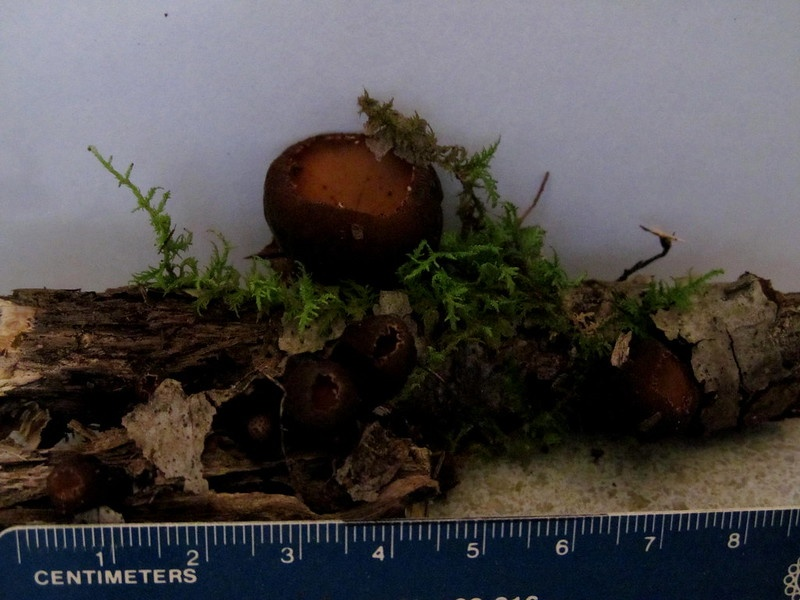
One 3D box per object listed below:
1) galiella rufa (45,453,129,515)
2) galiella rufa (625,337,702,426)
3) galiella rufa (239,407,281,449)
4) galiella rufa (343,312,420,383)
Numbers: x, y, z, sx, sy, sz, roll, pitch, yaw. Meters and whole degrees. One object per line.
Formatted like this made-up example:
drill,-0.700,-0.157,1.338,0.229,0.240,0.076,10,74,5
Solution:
galiella rufa,-1.749,1.007,4.782,0.207,0.342,0.313,-15,71,1
galiella rufa,1.471,0.494,5.012,0.418,0.493,0.219,6,27,20
galiella rufa,-0.750,0.713,4.903,0.177,0.206,0.072,-32,4,2
galiella rufa,-0.115,0.276,4.826,0.400,0.315,0.246,-4,26,1
